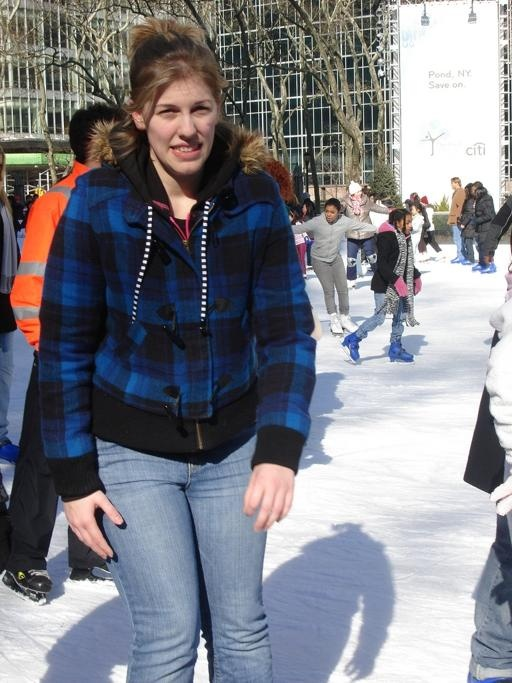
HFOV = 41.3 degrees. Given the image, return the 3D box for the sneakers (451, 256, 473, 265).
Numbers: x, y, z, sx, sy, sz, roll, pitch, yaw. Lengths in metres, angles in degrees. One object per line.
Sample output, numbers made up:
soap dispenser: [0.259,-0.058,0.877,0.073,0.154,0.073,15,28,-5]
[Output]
sneakers: [6.882,-2.692,22.742,0.712,0.268,0.230,3,2,18]

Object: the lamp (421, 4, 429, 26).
lamp: [10.402,-20.071,41.825,0.544,1.349,0.145,3,8,9]

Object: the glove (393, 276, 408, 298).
glove: [1.910,-0.727,8.975,0.191,0.234,0.068,-15,0,-42]

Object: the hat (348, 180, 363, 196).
hat: [2.548,-4.042,17.830,0.355,0.280,0.446,-12,-1,-6]
